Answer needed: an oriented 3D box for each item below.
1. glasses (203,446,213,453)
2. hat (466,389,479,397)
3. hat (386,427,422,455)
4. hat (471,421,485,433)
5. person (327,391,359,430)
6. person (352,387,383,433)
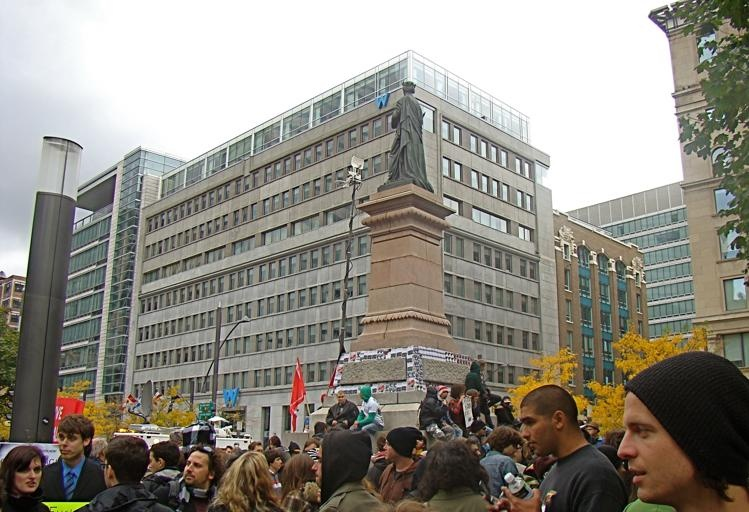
[{"bbox_3d":[-1.777,2.058,6.615,0.074,0.028,0.056,2,-4,11],"label":"glasses"},{"bbox_3d":[2.023,2.817,12.752,0.265,0.242,0.210,-8,-14,11],"label":"hat"},{"bbox_3d":[0.355,2.215,7.464,0.398,0.340,0.333,1,-23,3],"label":"hat"},{"bbox_3d":[2.041,3.338,12.178,0.235,0.209,0.211,-4,-10,-20],"label":"hat"},{"bbox_3d":[-0.765,3.826,14.959,0.853,1.082,0.572,-1,-16,5],"label":"person"},{"bbox_3d":[-0.157,3.531,14.286,0.694,1.047,0.606,0,-5,-39],"label":"person"}]
